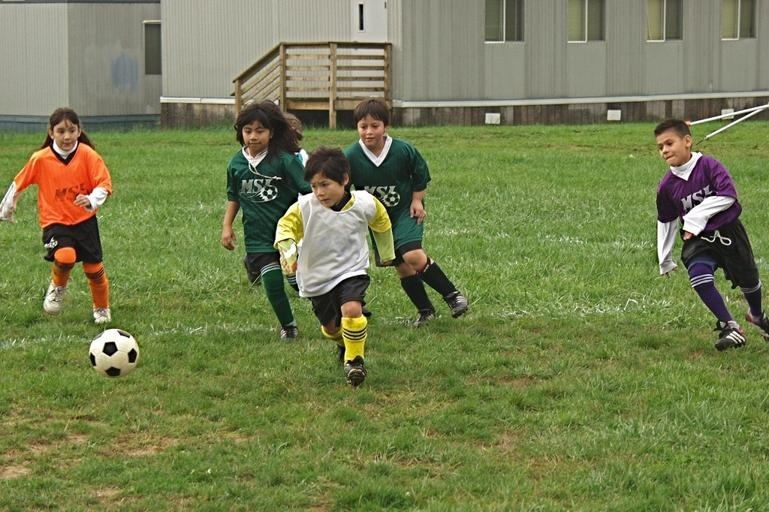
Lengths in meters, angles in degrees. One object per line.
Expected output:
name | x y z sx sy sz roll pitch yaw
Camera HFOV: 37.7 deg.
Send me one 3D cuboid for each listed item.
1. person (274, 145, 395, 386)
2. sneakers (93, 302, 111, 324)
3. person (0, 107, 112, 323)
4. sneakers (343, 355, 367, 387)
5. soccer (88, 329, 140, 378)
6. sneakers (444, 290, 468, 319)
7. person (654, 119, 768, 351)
person | -0.460 0.088 10.752 1.112 2.249 0.753 -2 6 -3
sneakers | -3.054 0.620 12.160 0.223 0.196 0.465 -3 1 -18
person | -3.467 -0.427 12.082 1.038 2.303 0.737 -4 6 -19
sneakers | -0.271 1.089 10.665 0.200 0.275 0.186 -2 6 -3
soccer | -2.554 0.939 10.696 0.468 0.444 0.459 -6 5 -16
sneakers | 0.785 0.505 11.918 0.179 0.136 0.382 -9 16 2
person | 3.255 -0.222 11.171 1.056 2.276 0.637 -1 6 12
